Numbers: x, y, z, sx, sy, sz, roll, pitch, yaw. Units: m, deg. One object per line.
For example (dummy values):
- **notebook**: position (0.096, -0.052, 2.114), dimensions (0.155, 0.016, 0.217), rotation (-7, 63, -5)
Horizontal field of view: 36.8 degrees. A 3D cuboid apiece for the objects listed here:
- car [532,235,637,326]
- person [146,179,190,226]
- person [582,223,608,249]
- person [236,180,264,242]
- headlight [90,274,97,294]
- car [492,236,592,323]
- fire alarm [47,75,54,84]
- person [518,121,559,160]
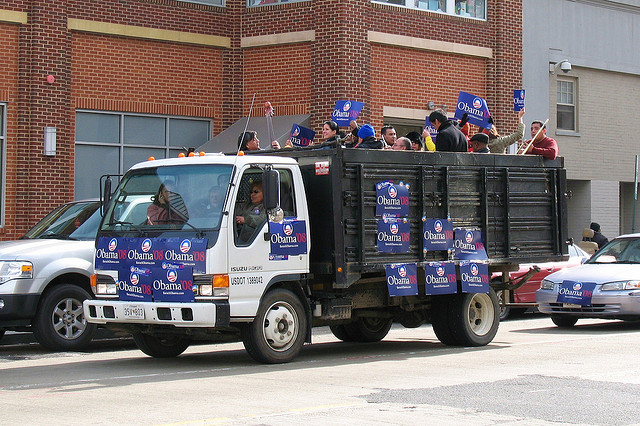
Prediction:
- **car**: position (6.539, 1.477, 21.761), dimensions (1.641, 1.272, 2.847), rotation (-8, -11, 42)
- **person**: position (-2.589, -0.175, 16.370), dimensions (0.824, 0.767, 0.252), rotation (-3, -2, 32)
- **person**: position (8.138, 0.688, 28.677), dimensions (0.491, 0.994, 0.322), rotation (10, 34, 31)
- **person**: position (-1.176, -0.046, 16.396), dimensions (0.471, 1.039, 0.145), rotation (-1, -2, -39)
- **headlight**: position (-3.972, 1.246, 16.862), dimensions (0.081, 0.329, 0.277), rotation (-1, -2, -21)
- **car**: position (5.753, 1.646, 24.040), dimensions (1.807, 1.727, 3.403), rotation (4, 1, -2)
- **fire alarm**: position (-7.259, -3.590, 25.840), dimensions (0.177, 0.177, 0.093), rotation (-7, 3, -18)
- **person**: position (4.546, -1.462, 20.049), dimensions (0.635, 0.882, 0.989), rotation (8, -5, -39)
